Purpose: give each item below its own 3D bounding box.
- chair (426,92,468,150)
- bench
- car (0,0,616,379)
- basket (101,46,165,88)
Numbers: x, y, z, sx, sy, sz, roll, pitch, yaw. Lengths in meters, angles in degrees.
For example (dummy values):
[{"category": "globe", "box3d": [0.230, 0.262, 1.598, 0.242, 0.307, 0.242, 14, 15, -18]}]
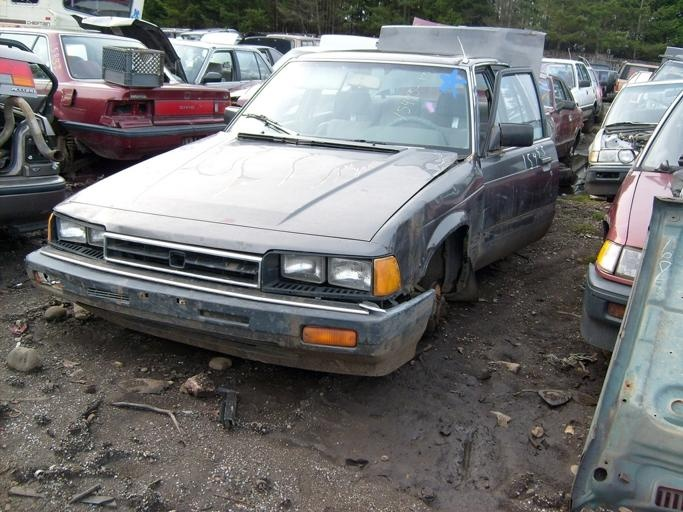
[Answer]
[{"category": "chair", "box3d": [0.843, -1.061, 3.752, 0.429, 0.447, 0.455, 1, 12, 14]}, {"category": "bench", "box3d": [0.580, -1.094, 3.797, 0.897, 0.480, 0.069, 15, 39, 36]}, {"category": "car", "box3d": [0.377, -0.498, 3.943, 2.679, 1.339, 4.023, 13, 20, 33]}, {"category": "basket", "box3d": [-2.658, -2.430, 6.173, 0.757, 0.277, 0.639, 5, 24, -4]}]
